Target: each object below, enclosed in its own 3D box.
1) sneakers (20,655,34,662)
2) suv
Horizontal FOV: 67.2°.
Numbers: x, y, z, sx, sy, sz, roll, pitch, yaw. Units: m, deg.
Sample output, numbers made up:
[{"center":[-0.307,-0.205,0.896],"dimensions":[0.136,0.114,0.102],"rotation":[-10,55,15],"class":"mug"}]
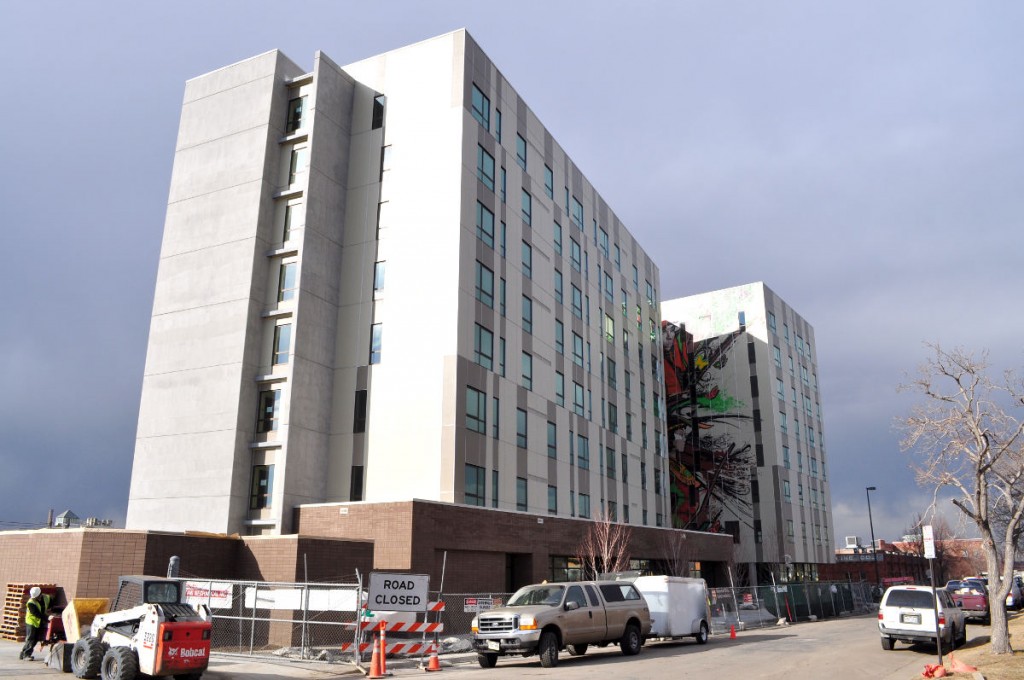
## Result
[{"center":[-18.312,11.900,28.836],"dimensions":[0.621,0.263,0.245],"rotation":[-3,-10,14],"class":"sneakers"},{"center":[2.004,11.254,31.206],"dimensions":[3.507,2.437,6.421],"rotation":[-20,-29,41],"class":"suv"}]
